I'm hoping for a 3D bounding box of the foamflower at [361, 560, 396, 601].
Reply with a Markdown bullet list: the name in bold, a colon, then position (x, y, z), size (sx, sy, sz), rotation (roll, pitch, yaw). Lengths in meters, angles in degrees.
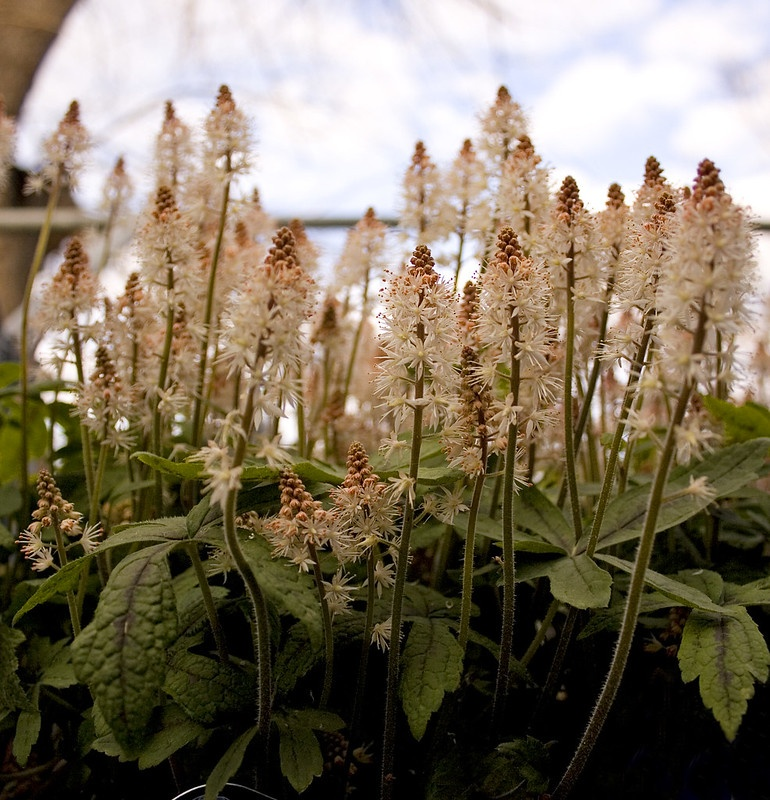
- **foamflower**: position (-0.008, 0.311, 1.706), size (0.066, 0.058, 0.016), rotation (-4, -6, 27)
